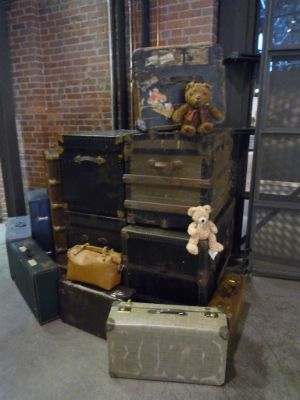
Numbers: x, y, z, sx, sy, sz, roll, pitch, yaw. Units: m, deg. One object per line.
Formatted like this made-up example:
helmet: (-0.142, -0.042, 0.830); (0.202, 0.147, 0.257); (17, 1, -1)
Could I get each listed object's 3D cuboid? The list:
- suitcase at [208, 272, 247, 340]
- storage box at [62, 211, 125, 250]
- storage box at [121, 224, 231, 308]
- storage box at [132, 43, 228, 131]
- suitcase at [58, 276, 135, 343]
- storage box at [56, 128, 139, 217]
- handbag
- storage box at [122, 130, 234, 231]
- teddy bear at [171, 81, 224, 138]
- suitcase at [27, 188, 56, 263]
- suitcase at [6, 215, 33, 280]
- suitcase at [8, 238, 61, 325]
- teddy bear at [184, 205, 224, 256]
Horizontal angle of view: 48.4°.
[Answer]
suitcase: (0.540, 0.751, 2.348); (0.158, 0.244, 0.450); (4, 18, 20)
storage box: (-0.450, 0.275, 2.939); (0.521, 0.342, 0.307); (4, 10, 5)
storage box: (0.167, 0.470, 2.509); (0.629, 0.475, 0.633); (4, 6, 31)
storage box: (0.275, -0.770, 2.426); (0.657, 0.554, 0.395); (4, 13, 25)
suitcase: (-0.434, 0.810, 2.631); (0.560, 0.378, 0.310); (9, 14, 32)
storage box: (-0.369, -0.312, 2.980); (0.704, 0.676, 0.707); (7, 16, 26)
handbag: (-0.445, 0.501, 2.609); (0.461, 0.282, 0.234); (7, 8, 25)
storage box: (0.228, -0.188, 2.640); (0.673, 0.719, 0.639); (6, 16, 26)
teddy bear: (0.308, -0.626, 2.286); (0.366, 0.363, 0.244); (-1, 36, -2)
suitcase: (-1.089, 0.239, 3.464); (0.224, 0.618, 0.371); (-2, 19, -10)
suitcase: (-1.237, 0.460, 3.154); (0.298, 0.470, 0.546); (-4, 15, -22)
suitcase: (-0.971, 0.697, 2.784); (0.182, 0.356, 0.504); (-12, 27, -29)
teddy bear: (0.358, 0.213, 2.282); (0.257, 0.312, 0.182); (-8, 26, -4)
